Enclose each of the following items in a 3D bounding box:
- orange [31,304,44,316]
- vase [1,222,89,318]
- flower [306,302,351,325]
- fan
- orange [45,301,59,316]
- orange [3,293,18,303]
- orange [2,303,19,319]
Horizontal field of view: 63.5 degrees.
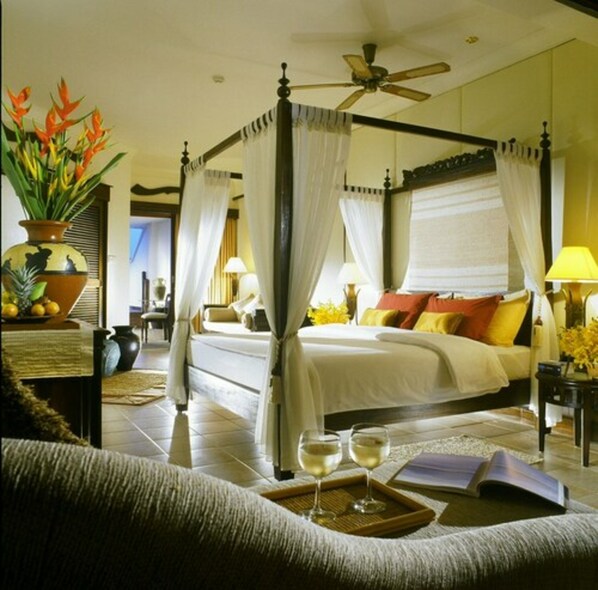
[{"bbox_3d":[-1.042,0.058,1.930,0.046,0.047,0.069,2,4,-29],"label":"orange"},{"bbox_3d":[-1.113,-0.065,2.261,0.372,0.496,0.411,-4,-5,43],"label":"vase"},{"bbox_3d":[0.352,0.256,6.167,0.360,0.256,0.358,4,-12,-29],"label":"flower"},{"bbox_3d":[0.760,-2.285,5.047,1.298,0.409,1.242,2,1,26],"label":"fan"},{"bbox_3d":[-1.007,0.052,1.971,0.042,0.054,0.053,1,4,-35],"label":"orange"},{"bbox_3d":[-1.123,0.012,1.872,0.036,0.039,0.045,6,3,0],"label":"orange"},{"bbox_3d":[-1.100,0.061,1.843,0.051,0.060,0.076,1,4,-32],"label":"orange"}]
